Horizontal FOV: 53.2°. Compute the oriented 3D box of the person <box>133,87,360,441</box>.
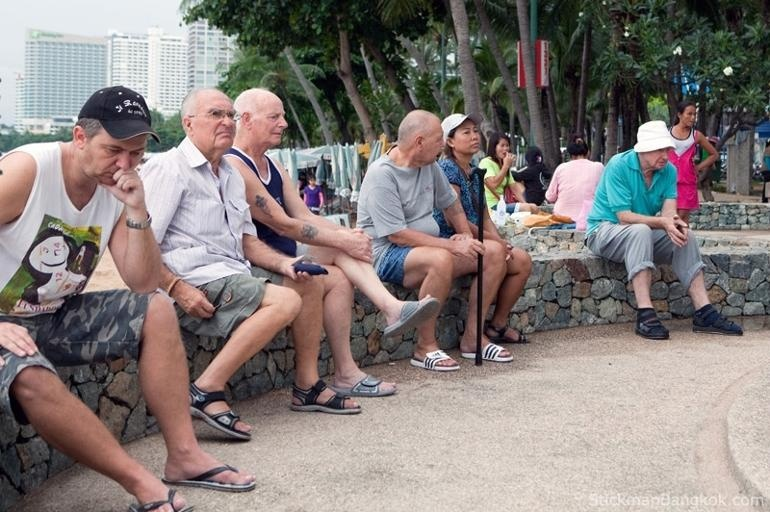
[{"bbox_3d":[-0.880,-0.031,4.992,1.389,2.180,1.192,-1,2,1],"label":"person"}]

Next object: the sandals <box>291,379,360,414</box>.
[{"bbox_3d":[-0.438,0.970,5.319,0.515,0.234,0.194,0,-1,9],"label":"sandals"}]

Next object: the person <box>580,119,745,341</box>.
[{"bbox_3d":[2.500,-0.292,7.242,0.942,1.933,1.111,-3,11,-12],"label":"person"}]

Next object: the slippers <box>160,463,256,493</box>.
[{"bbox_3d":[-0.955,1.165,4.169,0.449,0.122,0.178,1,1,4],"label":"slippers"}]

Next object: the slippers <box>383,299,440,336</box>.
[{"bbox_3d":[0.202,0.426,5.478,0.409,0.303,0.229,-2,11,-10],"label":"slippers"}]

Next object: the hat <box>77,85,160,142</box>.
[{"bbox_3d":[-1.363,-0.728,3.929,0.383,0.284,0.361,-5,12,-22],"label":"hat"}]

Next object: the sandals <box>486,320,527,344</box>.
[{"bbox_3d":[1.065,0.683,6.886,0.384,0.173,0.166,1,5,-9],"label":"sandals"}]

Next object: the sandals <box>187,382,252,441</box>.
[{"bbox_3d":[-1.026,0.965,4.804,0.526,0.234,0.196,27,-2,3],"label":"sandals"}]

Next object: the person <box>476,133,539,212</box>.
[{"bbox_3d":[1.792,-1.153,11.185,0.922,1.336,0.655,1,8,37],"label":"person"}]

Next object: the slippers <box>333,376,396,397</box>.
[{"bbox_3d":[-0.127,0.920,5.560,0.386,0.138,0.169,0,0,5],"label":"slippers"}]

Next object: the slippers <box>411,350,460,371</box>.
[{"bbox_3d":[0.397,0.825,6.125,0.299,0.105,0.155,-2,0,41],"label":"slippers"}]

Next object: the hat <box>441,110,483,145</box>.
[{"bbox_3d":[0.652,-1.158,6.699,0.233,0.176,0.325,-14,-7,-42],"label":"hat"}]

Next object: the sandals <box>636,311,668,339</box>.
[{"bbox_3d":[2.407,0.607,6.916,0.281,0.250,0.193,3,11,19],"label":"sandals"}]

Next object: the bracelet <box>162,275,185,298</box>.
[{"bbox_3d":[-1.332,0.182,4.877,0.031,0.111,0.112,39,-19,0],"label":"bracelet"}]

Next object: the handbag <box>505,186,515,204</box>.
[{"bbox_3d":[1.928,-0.947,11.831,0.082,0.252,0.180,-8,11,-27],"label":"handbag"}]

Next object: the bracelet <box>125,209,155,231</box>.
[{"bbox_3d":[-1.318,-0.186,4.121,0.094,0.102,0.037,7,33,-7],"label":"bracelet"}]

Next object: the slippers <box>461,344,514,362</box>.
[{"bbox_3d":[0.857,0.786,6.381,0.323,0.127,0.154,-1,2,11],"label":"slippers"}]

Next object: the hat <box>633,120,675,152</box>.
[{"bbox_3d":[2.504,-1.116,7.175,0.325,0.291,0.345,3,11,16],"label":"hat"}]
